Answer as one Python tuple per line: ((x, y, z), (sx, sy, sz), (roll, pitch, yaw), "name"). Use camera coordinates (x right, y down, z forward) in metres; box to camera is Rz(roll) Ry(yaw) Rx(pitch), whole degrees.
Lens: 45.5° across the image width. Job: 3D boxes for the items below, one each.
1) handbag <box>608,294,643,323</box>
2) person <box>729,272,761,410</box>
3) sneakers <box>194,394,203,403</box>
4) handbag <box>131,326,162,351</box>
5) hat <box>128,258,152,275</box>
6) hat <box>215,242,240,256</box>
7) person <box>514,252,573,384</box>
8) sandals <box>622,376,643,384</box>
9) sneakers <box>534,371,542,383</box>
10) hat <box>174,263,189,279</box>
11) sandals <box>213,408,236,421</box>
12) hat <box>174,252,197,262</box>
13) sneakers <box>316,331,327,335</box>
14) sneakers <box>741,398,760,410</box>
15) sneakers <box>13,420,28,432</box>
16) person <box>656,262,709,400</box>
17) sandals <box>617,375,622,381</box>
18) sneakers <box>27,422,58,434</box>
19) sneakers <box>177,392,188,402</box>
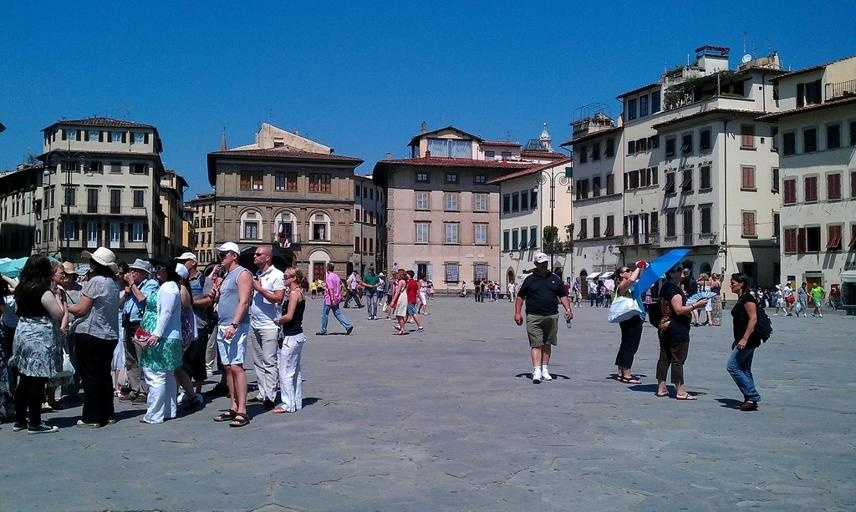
((3.992, 1.081, 20.628), (0.686, 0.545, 0.430), (-2, -3, 9), "handbag")
((5.682, 1.530, 18.484), (0.566, 2.436, 0.748), (-2, -3, 16), "person")
((-4.193, 2.611, 18.716), (0.162, 0.136, 0.157), (-6, 3, -36), "sneakers")
((-4.809, 1.390, 17.446), (0.469, 0.324, 0.265), (-1, -3, 2), "handbag")
((-5.136, 0.190, 18.302), (0.324, 0.137, 0.339), (15, -1, 8), "hat")
((-3.484, -0.147, 17.903), (0.395, 0.191, 0.276), (4, -7, -27), "hat")
((2.278, 1.241, 20.501), (1.031, 2.563, 0.542), (-1, -3, 5), "person")
((4.080, 2.489, 20.490), (0.317, 0.084, 0.155), (-2, 2, 3), "sandals")
((2.157, 2.406, 20.336), (0.161, 0.223, 0.227), (-1, -2, 2), "sneakers")
((-4.546, 0.282, 18.849), (0.135, 0.227, 0.328), (-31, 37, 7), "hat")
((-3.476, 2.733, 17.515), (0.550, 0.179, 0.199), (1, -7, -1), "sandals")
((-4.557, 0.020, 19.569), (0.246, 0.138, 0.353), (-6, -10, 39), "hat")
((-3.237, 2.322, 30.836), (0.284, 0.100, 0.139), (1, -5, -8), "sneakers")
((5.780, 2.654, 18.224), (0.523, 0.169, 0.255), (1, -3, -42), "sneakers")
((-6.823, 2.843, 17.046), (0.218, 0.143, 0.178), (-1, -2, -15), "sneakers")
((4.624, 1.426, 19.113), (0.763, 2.482, 0.520), (-3, -3, 28), "person")
((3.889, 2.473, 20.709), (0.066, 0.068, 0.101), (0, -9, -4), "sandals")
((-6.389, 2.849, 16.958), (0.492, 0.172, 0.171), (1, 5, -9), "sneakers")
((-4.459, 2.564, 18.529), (0.192, 0.102, 0.180), (1, -5, -12), "sneakers")
